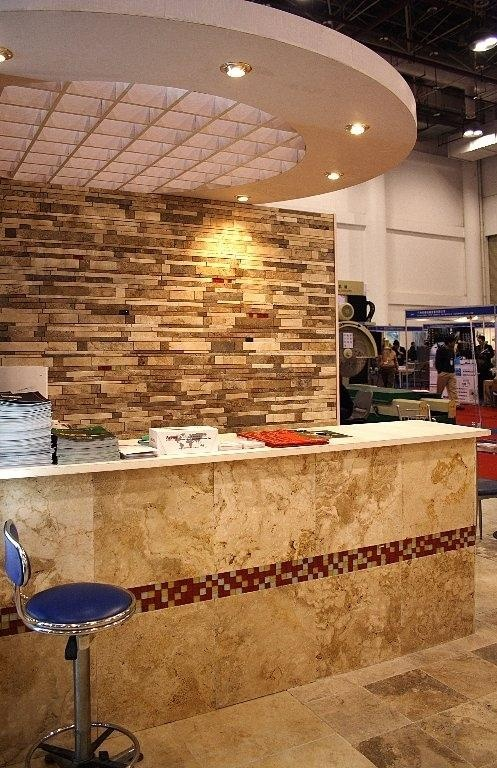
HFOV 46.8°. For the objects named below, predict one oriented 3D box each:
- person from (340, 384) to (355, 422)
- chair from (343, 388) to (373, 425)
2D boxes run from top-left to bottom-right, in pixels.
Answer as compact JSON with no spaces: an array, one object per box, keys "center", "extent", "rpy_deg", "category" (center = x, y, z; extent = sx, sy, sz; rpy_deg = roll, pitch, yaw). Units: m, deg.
[{"center":[1.238,0.261,7.239],"extent":[0.152,0.487,0.701],"rpy_deg":[0,-2,12],"category":"person"},{"center":[1.399,0.296,7.315],"extent":[0.335,0.545,0.392],"rpy_deg":[-3,-17,44],"category":"chair"}]
